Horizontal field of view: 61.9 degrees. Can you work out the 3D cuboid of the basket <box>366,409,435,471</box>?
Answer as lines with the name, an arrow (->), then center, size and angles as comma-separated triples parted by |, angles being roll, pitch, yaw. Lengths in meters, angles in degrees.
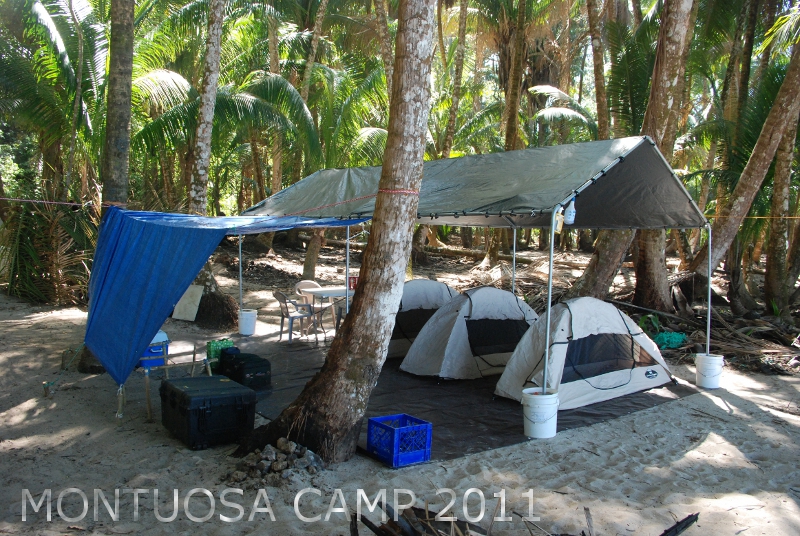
basket -> 0.027, 2.422, 9.827 | 0.793, 0.722, 1.020 | 2, 1, 41

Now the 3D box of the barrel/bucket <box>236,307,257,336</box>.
barrel/bucket -> -3.413, 1.216, 14.792 | 0.525, 0.558, 0.506 | 0, -7, 0

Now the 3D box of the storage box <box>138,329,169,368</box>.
storage box -> -3.996, 1.384, 10.963 | 0.565, 0.745, 0.795 | 0, 7, -25

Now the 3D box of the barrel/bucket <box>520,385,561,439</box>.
barrel/bucket -> 2.177, 2.249, 10.360 | 0.604, 0.655, 0.364 | 8, 4, 8

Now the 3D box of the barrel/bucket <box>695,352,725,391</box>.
barrel/bucket -> 5.651, 1.880, 12.192 | 0.603, 0.589, 0.566 | 1, -4, 0
